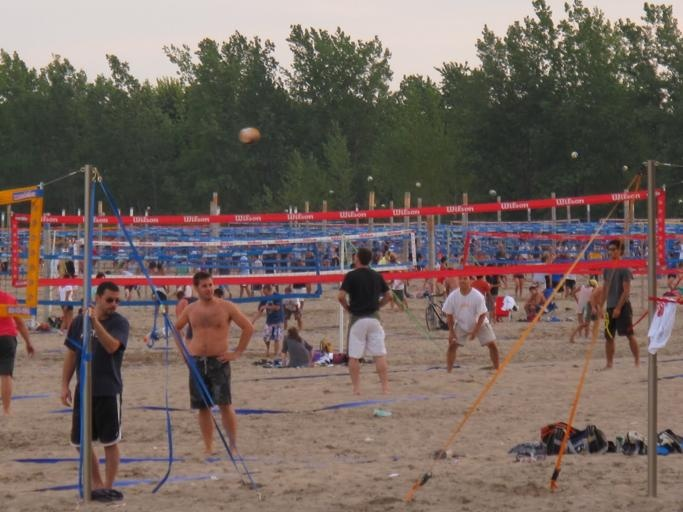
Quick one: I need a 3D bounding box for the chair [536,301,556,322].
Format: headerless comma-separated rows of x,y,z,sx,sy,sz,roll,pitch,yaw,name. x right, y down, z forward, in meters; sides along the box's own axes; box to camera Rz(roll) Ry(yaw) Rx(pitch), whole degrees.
6.976,1.929,49.917,0.272,0.810,0.530,19,-16,-26,chair

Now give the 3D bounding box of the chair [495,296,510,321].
5.600,1.904,52.005,0.629,1.041,0.711,0,4,-17,chair
